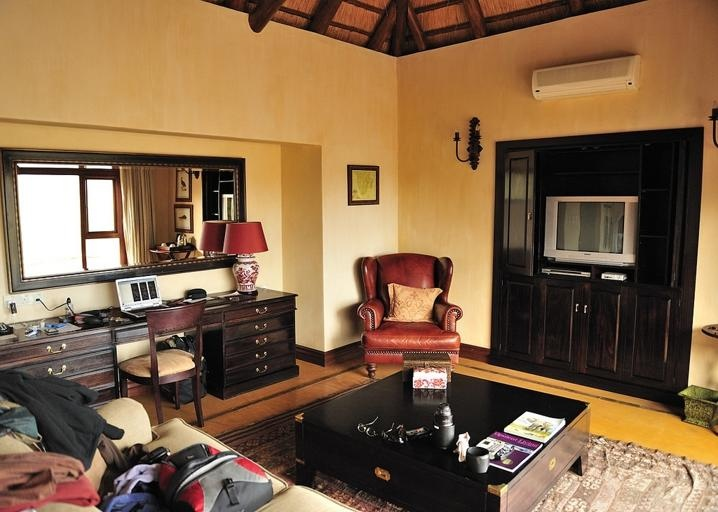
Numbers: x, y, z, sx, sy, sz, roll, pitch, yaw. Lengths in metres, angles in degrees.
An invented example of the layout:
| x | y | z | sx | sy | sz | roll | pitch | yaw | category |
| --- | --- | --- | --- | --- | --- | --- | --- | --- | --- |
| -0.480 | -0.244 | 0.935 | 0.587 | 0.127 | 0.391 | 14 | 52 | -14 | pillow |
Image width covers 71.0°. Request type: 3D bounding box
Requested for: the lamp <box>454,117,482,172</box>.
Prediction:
| x | y | z | sx | sy | sz | roll | pitch | yaw | category |
| --- | --- | --- | --- | --- | --- | --- | --- | --- | --- |
| 1.207 | -1.255 | 5.637 | 0.349 | 0.568 | 0.116 | 8 | 14 | 38 | lamp |

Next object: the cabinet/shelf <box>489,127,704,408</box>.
| x | y | z | sx | sy | sz | roll | pitch | yaw | category |
| --- | --- | --- | --- | --- | --- | --- | --- | --- | --- |
| 2.353 | 0.018 | 5.065 | 1.847 | 2.495 | 0.537 | 7 | 14 | 36 | cabinet/shelf |

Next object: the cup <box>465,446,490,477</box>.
| x | y | z | sx | sy | sz | roll | pitch | yaw | category |
| --- | --- | --- | --- | --- | --- | --- | --- | --- | --- |
| 0.690 | 1.176 | 2.923 | 0.135 | 0.106 | 0.133 | 0 | 11 | 0 | cup |

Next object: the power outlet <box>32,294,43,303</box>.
| x | y | z | sx | sy | sz | roll | pitch | yaw | category |
| --- | --- | --- | --- | --- | --- | --- | --- | --- | --- |
| -2.682 | 0.345 | 4.182 | 0.020 | 0.076 | 0.083 | 4 | 2 | 44 | power outlet |

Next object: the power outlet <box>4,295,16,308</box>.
| x | y | z | sx | sy | sz | roll | pitch | yaw | category |
| --- | --- | --- | --- | --- | --- | --- | --- | --- | --- |
| -2.812 | 0.361 | 4.059 | 0.071 | 0.097 | 0.029 | 5 | -6 | -14 | power outlet |

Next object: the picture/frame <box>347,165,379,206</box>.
| x | y | z | sx | sy | sz | roll | pitch | yaw | category |
| --- | --- | --- | --- | --- | --- | --- | --- | --- | --- |
| 0.031 | -0.829 | 5.796 | 0.039 | 0.448 | 0.493 | 3 | 4 | 44 | picture/frame |

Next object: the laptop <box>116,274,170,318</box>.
| x | y | z | sx | sy | sz | roll | pitch | yaw | category |
| --- | --- | --- | --- | --- | --- | --- | --- | --- | --- |
| -1.968 | 0.340 | 4.504 | 0.374 | 0.270 | 0.332 | -7 | 10 | -44 | laptop |

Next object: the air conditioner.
| x | y | z | sx | sy | sz | roll | pitch | yaw | category |
| --- | --- | --- | --- | --- | --- | --- | --- | --- | --- |
| 2.188 | -1.689 | 4.851 | 0.291 | 0.328 | 0.986 | -18 | 20 | -37 | air conditioner |
